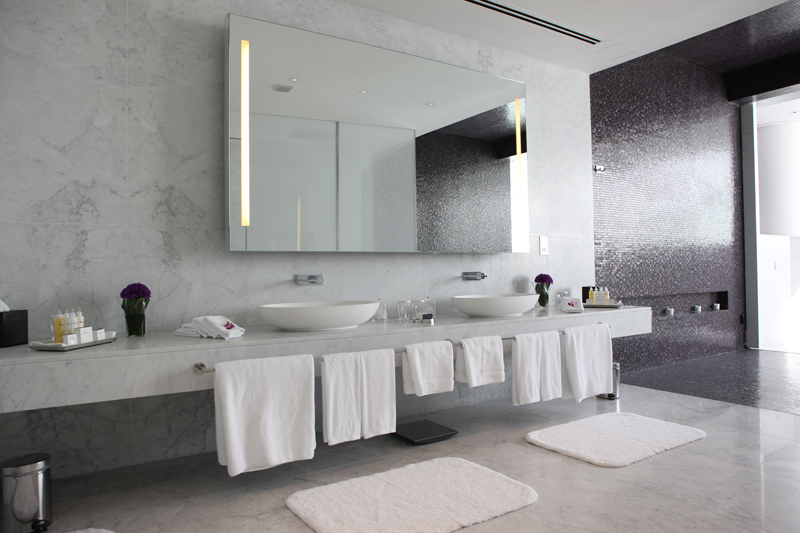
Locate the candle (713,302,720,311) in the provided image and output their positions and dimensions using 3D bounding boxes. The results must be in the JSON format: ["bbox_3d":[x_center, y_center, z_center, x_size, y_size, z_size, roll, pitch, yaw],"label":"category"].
[{"bbox_3d":[4.283,0.548,7.508,0.097,0.081,0.117,3,0,8],"label":"candle"}]

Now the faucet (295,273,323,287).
[{"bbox_3d":[-0.712,0.113,4.291,0.160,0.099,0.048,-1,36,-8],"label":"faucet"}]

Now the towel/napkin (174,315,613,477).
[{"bbox_3d":[0.127,0.856,3.996,2.959,0.680,0.241,-4,9,-24],"label":"towel/napkin"}]

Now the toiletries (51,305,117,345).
[{"bbox_3d":[-2.010,0.376,3.466,0.203,0.197,0.372,3,9,25],"label":"toiletries"}]

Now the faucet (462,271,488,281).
[{"bbox_3d":[0.652,0.084,4.929,0.180,0.060,0.093,0,1,-16],"label":"faucet"}]

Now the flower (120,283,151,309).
[{"bbox_3d":[-1.771,0.193,3.713,0.178,0.160,0.170,-2,0,-14],"label":"flower"}]

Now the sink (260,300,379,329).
[{"bbox_3d":[-0.557,0.323,3.864,0.831,0.193,0.769,0,-1,-32],"label":"sink"}]

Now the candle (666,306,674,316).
[{"bbox_3d":[3.383,0.558,6.929,0.140,0.122,0.096,1,-2,-25],"label":"candle"}]

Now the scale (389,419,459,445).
[{"bbox_3d":[0.175,1.280,4.281,0.279,0.051,0.269,-3,4,-32],"label":"scale"}]

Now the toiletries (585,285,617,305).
[{"bbox_3d":[1.898,0.294,5.267,0.264,0.152,0.258,-2,-3,25],"label":"toiletries"}]

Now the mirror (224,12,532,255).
[{"bbox_3d":[-0.260,-1.060,4.444,4.053,2.026,0.053,0,0,-33],"label":"mirror"}]

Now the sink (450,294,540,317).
[{"bbox_3d":[0.772,0.329,4.620,0.711,0.204,0.296,-3,8,-15],"label":"sink"}]

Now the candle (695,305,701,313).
[{"bbox_3d":[3.928,0.557,7.325,0.104,0.068,0.099,0,0,-18],"label":"candle"}]
